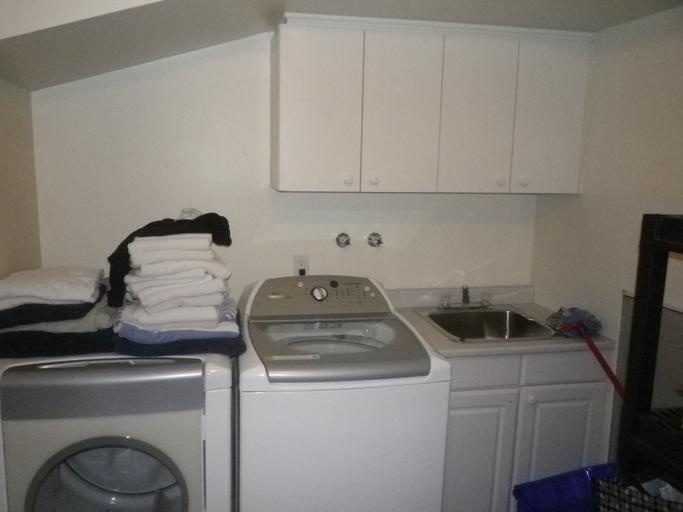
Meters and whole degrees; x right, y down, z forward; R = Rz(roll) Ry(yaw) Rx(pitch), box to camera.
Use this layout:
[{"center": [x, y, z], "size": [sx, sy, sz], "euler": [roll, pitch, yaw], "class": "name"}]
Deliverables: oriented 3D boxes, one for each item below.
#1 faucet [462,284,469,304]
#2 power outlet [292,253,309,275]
[{"center": [0.675, 0.209, 3.100], "size": [0.039, 0.107, 0.117], "euler": [1, 8, 14], "class": "faucet"}, {"center": [-0.197, 0.048, 3.014], "size": [0.121, 0.162, 0.091], "euler": [0, -1, -2], "class": "power outlet"}]
